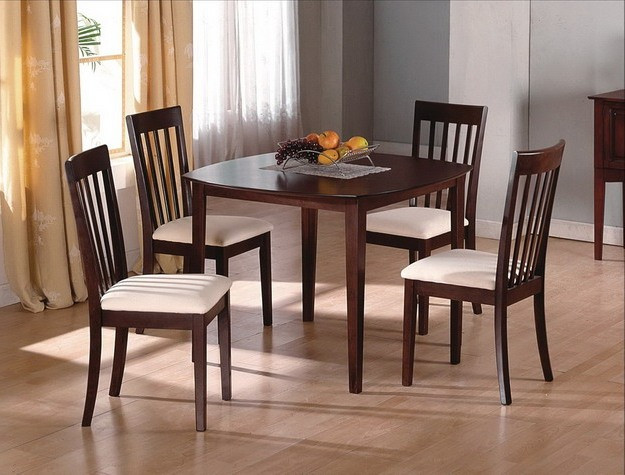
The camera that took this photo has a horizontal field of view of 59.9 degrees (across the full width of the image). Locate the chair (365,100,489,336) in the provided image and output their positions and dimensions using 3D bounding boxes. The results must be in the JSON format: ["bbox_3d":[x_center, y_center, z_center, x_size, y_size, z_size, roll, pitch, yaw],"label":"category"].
[{"bbox_3d":[0.579,-0.128,2.924,0.675,1.096,0.595,-13,19,-29],"label":"chair"}]

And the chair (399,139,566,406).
[{"bbox_3d":[0.731,0.126,2.322,0.605,0.925,0.547,1,6,36],"label":"chair"}]

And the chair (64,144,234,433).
[{"bbox_3d":[-0.630,0.169,2.125,0.606,1.034,0.573,-1,14,-2],"label":"chair"}]

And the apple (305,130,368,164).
[{"bbox_3d":[0.083,-0.452,2.611,0.207,0.079,0.197,-12,25,-36],"label":"apple"}]

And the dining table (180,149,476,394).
[{"bbox_3d":[0.151,-0.106,2.701,1.220,0.887,1.223,9,16,33],"label":"dining table"}]
